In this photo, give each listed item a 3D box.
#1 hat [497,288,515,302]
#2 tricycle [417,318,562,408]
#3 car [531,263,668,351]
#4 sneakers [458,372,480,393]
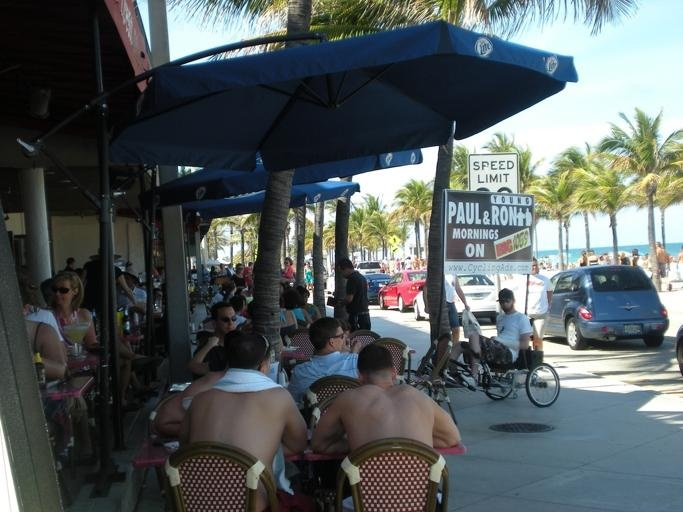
[{"bbox_3d":[2.681,0.602,9.672,0.173,0.150,0.255,1,22,15],"label":"hat"},{"bbox_3d":[2.385,1.647,9.434,1.916,1.078,1.140,2,0,-23],"label":"tricycle"},{"bbox_3d":[6.330,1.302,15.405,1.846,1.707,3.650,-3,3,-6],"label":"car"},{"bbox_3d":[2.132,2.099,9.812,0.254,0.242,0.643,-17,-24,8],"label":"sneakers"}]
